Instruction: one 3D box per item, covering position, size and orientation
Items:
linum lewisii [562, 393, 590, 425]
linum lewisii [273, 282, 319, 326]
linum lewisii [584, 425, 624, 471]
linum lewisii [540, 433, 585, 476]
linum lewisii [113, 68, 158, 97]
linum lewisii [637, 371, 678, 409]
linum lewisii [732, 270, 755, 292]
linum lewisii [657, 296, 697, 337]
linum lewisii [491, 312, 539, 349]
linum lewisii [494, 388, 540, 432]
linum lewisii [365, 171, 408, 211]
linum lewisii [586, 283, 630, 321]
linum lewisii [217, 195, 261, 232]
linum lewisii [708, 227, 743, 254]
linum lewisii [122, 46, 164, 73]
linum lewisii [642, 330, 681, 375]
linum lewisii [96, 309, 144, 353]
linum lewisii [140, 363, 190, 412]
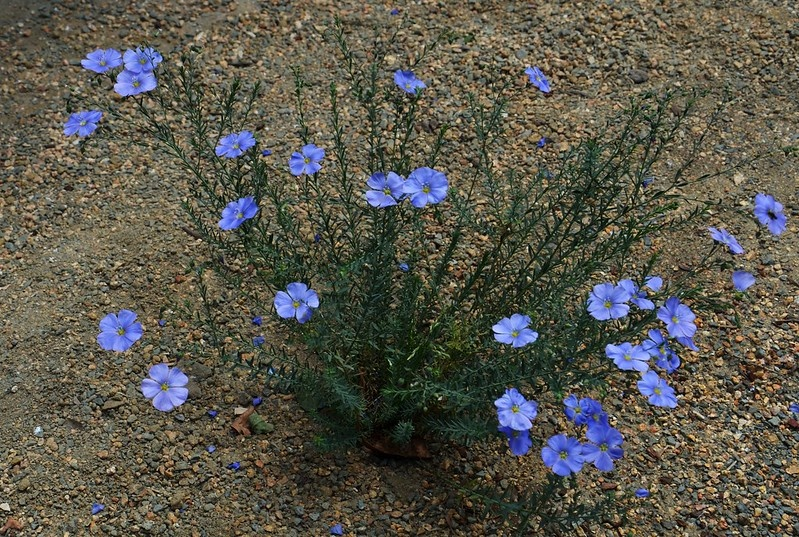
[{"bbox_3d":[1.107,0.876,5.436,0.166,0.086,0.176,-8,78,36],"label":"linum lewisii"},{"bbox_3d":[-0.618,0.208,5.253,0.327,0.109,0.329,-11,40,-7],"label":"linum lewisii"},{"bbox_3d":[1.236,1.086,5.342,0.253,0.098,0.274,-2,82,0],"label":"linum lewisii"},{"bbox_3d":[0.988,1.147,5.335,0.241,0.224,0.231,42,71,14],"label":"linum lewisii"},{"bbox_3d":[-1.645,-1.150,5.414,0.264,0.083,0.160,7,67,0],"label":"linum lewisii"},{"bbox_3d":[1.595,0.719,5.415,0.233,0.085,0.238,28,62,-9],"label":"linum lewisii"},{"bbox_3d":[2.166,0.085,5.464,0.149,0.064,0.139,-19,43,-2],"label":"linum lewisii"},{"bbox_3d":[1.677,0.293,5.283,0.235,0.062,0.244,-43,102,-24],"label":"linum lewisii"},{"bbox_3d":[0.693,0.380,5.282,0.241,0.085,0.202,-19,70,-10],"label":"linum lewisii"},{"bbox_3d":[0.689,0.851,5.252,0.248,0.098,0.225,17,68,4],"label":"linum lewisii"},{"bbox_3d":[-0.082,-0.448,5.168,0.215,0.289,0.252,4,67,-1],"label":"linum lewisii"},{"bbox_3d":[1.273,0.218,5.294,0.316,0.232,0.201,-3,67,-4],"label":"linum lewisii"},{"bbox_3d":[-0.998,-0.351,5.337,0.248,0.128,0.176,-25,70,-12],"label":"linum lewisii"},{"bbox_3d":[2.238,-0.203,5.990,0.190,0.039,0.180,24,27,-23],"label":"linum lewisii"},{"bbox_3d":[-1.599,-1.302,5.420,0.188,0.075,0.181,-31,65,-18],"label":"linum lewisii"},{"bbox_3d":[1.589,0.518,5.390,0.279,0.081,0.283,8,76,-31],"label":"linum lewisii"},{"bbox_3d":[-1.735,0.390,5.538,0.261,0.108,0.279,-8,74,4],"label":"linum lewisii"},{"bbox_3d":[-1.445,0.741,5.412,0.279,0.217,0.247,39,71,13],"label":"linum lewisii"}]
